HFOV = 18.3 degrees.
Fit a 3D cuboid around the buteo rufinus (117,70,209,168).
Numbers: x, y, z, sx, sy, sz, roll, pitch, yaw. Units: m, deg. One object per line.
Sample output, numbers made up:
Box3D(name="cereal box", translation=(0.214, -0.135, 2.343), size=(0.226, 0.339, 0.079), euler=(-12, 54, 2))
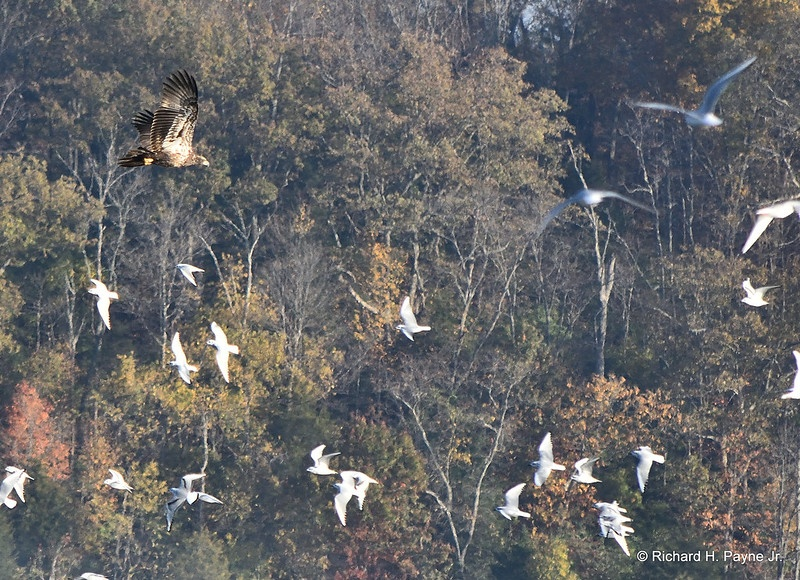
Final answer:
Box3D(name="buteo rufinus", translation=(-11.744, -8.453, 122.214), size=(3.964, 5.421, 3.555), euler=(-1, -2, -20))
